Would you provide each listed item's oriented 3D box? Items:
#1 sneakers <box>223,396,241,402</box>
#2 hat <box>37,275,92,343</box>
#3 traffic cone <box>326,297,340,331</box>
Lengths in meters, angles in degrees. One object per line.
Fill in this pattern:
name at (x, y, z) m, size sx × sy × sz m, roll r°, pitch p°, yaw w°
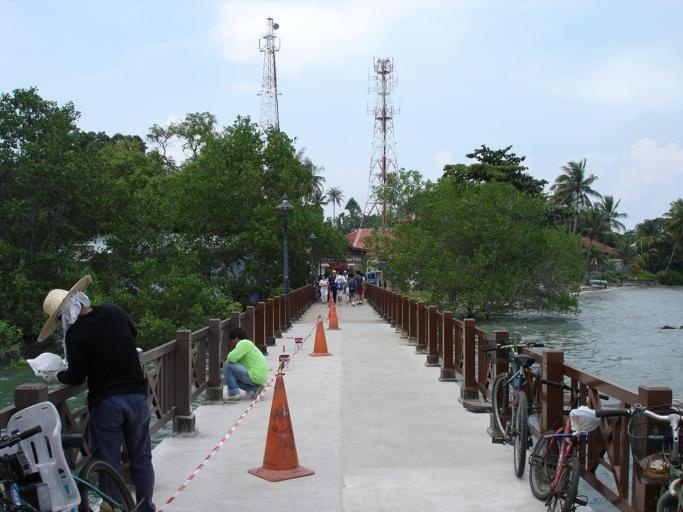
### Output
sneakers at (-2.051, 2.625, 14.064) m, size 0.239 × 0.124 × 0.106 m, roll 6°, pitch -5°, yaw -6°
hat at (-3.217, 0.592, 8.735) m, size 0.562 × 0.757 × 1.296 m, roll -5°, pitch 0°, yaw -22°
traffic cone at (-0.337, 2.219, 27.871) m, size 0.744 × 1.255 × 0.823 m, roll -2°, pitch 1°, yaw 1°
